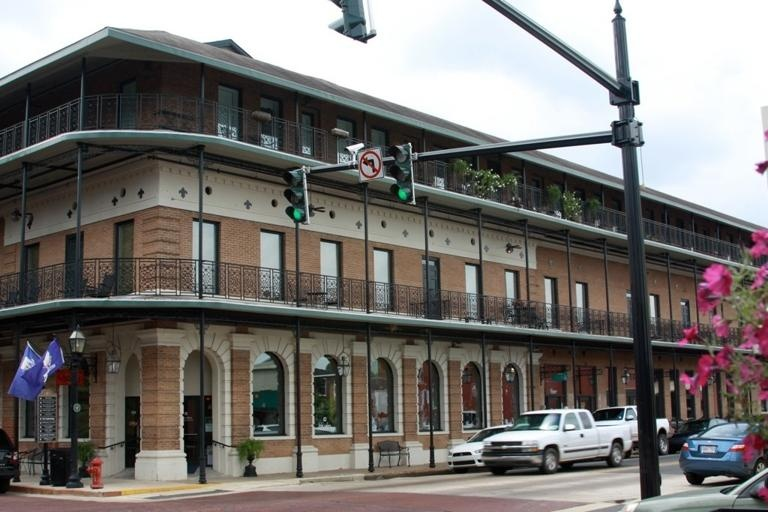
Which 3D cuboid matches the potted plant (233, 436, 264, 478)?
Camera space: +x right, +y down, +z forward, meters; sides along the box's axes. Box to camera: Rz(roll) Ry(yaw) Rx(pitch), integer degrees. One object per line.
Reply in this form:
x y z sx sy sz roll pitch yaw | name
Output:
-4.579 6.836 33.275 0.913 1.356 0.515 -2 -18 -6 | potted plant

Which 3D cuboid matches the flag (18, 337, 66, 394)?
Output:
-10.868 3.544 31.688 1.309 1.944 0.732 -20 -24 40 | flag

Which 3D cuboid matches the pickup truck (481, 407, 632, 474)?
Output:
5.918 6.405 33.609 4.894 1.651 2.216 15 -21 -43 | pickup truck

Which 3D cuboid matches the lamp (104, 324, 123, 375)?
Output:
-9.290 3.194 33.645 0.506 1.592 0.887 1 -19 -15 | lamp
